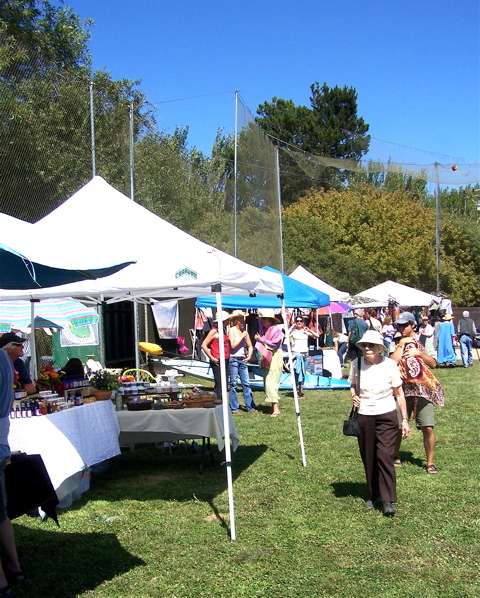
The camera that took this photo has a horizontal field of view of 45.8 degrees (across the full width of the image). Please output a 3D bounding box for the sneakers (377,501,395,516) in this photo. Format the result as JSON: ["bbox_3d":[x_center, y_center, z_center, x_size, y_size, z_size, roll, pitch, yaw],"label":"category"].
[{"bbox_3d":[1.271,1.817,4.979,0.072,0.107,0.223,0,4,-6],"label":"sneakers"}]

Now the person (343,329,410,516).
[{"bbox_3d":[1.249,1.089,5.142,0.501,1.290,0.579,-2,1,17],"label":"person"}]

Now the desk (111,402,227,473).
[{"bbox_3d":[-0.693,1.605,6.609,1.272,0.671,1.777,-2,1,-1],"label":"desk"}]

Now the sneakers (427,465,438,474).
[{"bbox_3d":[2.122,1.887,6.293,0.051,0.053,0.149,0,-3,2],"label":"sneakers"}]

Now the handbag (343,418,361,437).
[{"bbox_3d":[0.992,1.149,5.095,0.144,0.140,0.251,-2,1,10],"label":"handbag"}]

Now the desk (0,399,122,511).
[{"bbox_3d":[-1.509,1.345,5.192,0.593,0.273,0.986,2,2,10],"label":"desk"}]

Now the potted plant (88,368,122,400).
[{"bbox_3d":[-1.452,0.914,6.013,0.277,0.309,0.279,-2,1,-18],"label":"potted plant"}]

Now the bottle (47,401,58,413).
[{"bbox_3d":[-1.668,0.956,5.061,0.070,0.143,0.081,-1,-1,10],"label":"bottle"}]

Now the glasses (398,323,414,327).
[{"bbox_3d":[1.780,0.272,6.061,0.205,0.026,0.071,-2,1,-31],"label":"glasses"}]

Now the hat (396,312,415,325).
[{"bbox_3d":[1.763,0.195,6.080,0.187,0.118,0.118,8,-9,-35],"label":"hat"}]

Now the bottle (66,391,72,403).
[{"bbox_3d":[-1.681,0.959,5.565,0.054,0.109,0.055,-5,-11,-1],"label":"bottle"}]

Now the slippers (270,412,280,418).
[{"bbox_3d":[0.614,2.035,10.030,0.142,0.125,0.067,2,-23,-28],"label":"slippers"}]
